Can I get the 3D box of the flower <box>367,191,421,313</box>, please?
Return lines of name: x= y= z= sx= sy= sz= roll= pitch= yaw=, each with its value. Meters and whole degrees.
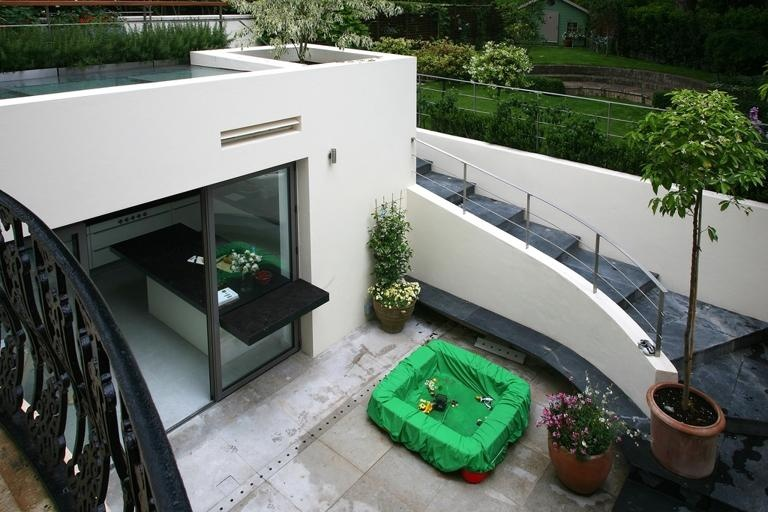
flower: x=0.149 y=-0.006 z=10.086 sx=0.946 sy=1.892 sz=1.385 roll=-1 pitch=30 yaw=-7

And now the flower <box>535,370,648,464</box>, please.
flower: x=2.852 y=2.419 z=7.705 sx=0.992 sy=1.261 sz=0.708 roll=5 pitch=66 yaw=20

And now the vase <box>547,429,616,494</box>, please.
vase: x=2.798 y=3.032 z=7.448 sx=0.853 sy=0.665 sz=0.873 roll=3 pitch=20 yaw=14
